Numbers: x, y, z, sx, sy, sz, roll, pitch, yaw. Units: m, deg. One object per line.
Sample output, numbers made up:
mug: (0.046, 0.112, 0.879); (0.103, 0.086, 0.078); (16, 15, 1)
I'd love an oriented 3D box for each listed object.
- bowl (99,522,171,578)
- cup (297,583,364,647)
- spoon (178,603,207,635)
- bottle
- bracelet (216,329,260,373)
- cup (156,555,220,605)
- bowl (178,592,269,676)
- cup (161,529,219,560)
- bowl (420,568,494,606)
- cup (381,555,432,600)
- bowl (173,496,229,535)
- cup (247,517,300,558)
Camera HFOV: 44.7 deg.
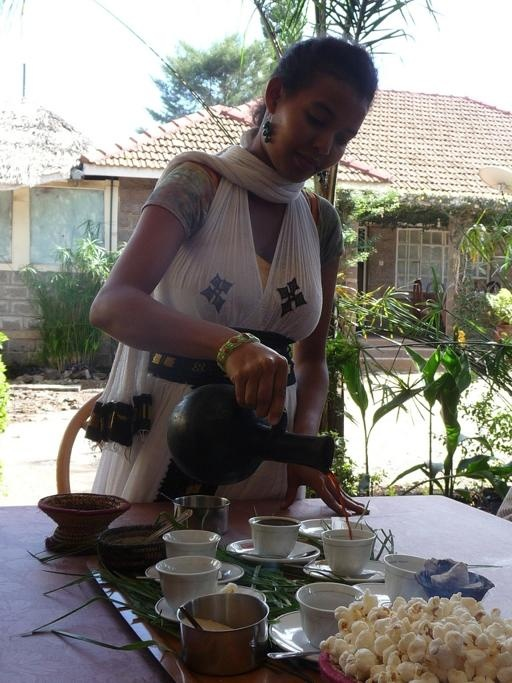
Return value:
bowl: (-0.189, 0.330, 1.002); (0.138, 0.045, 0.121); (1, 3, 11)
cup: (0.081, 0.304, 0.730); (0.073, 0.049, 0.071); (1, 7, 0)
spoon: (-0.074, 0.302, 0.690); (0.011, 0.013, 0.060); (33, -11, -32)
bottle: (0.011, 0.139, 0.952); (0.237, 0.115, 0.128); (8, -37, 12)
bracelet: (-0.036, 0.007, 0.974); (0.017, 0.061, 0.063); (48, 9, 22)
cup: (-0.094, 0.296, 0.808); (0.070, 0.044, 0.067); (-1, -2, 0)
bowl: (-0.036, 0.309, 0.681); (0.079, 0.042, 0.075); (0, -2, 0)
cup: (-0.096, 0.289, 0.919); (0.061, 0.027, 0.059); (0, -13, 0)
bowl: (0.241, 0.278, 0.726); (0.061, 0.022, 0.055); (-2, 3, -3)
cup: (0.195, 0.309, 0.828); (0.072, 0.050, 0.073); (0, -4, 0)
bowl: (-0.096, 0.300, 1.109); (0.088, 0.047, 0.082); (2, -3, 0)
cup: (0.035, 0.325, 1.063); (0.077, 0.046, 0.072); (2, -10, 0)
